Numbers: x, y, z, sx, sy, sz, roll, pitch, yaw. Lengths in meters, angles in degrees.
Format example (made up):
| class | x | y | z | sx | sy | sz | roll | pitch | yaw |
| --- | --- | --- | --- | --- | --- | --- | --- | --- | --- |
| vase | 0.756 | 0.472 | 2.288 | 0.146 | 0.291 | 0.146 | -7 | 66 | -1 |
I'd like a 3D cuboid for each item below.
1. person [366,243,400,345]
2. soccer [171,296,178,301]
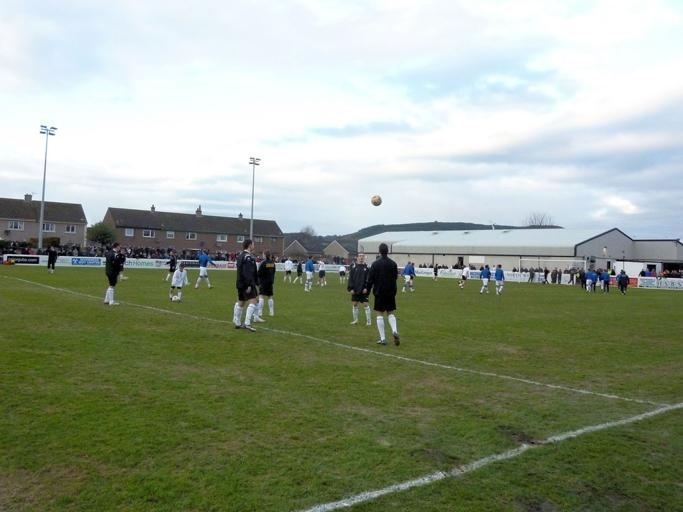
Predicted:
| class | x | y | z | sx | sy | sz | roll | pitch | yaw |
| --- | --- | --- | --- | --- | --- | --- | --- | --- | --- |
| person | 0.963 | 0.847 | 13.809 | 0.741 | 2.456 | 1.284 | 1 | 13 | 3 |
| soccer | -6.029 | 1.544 | 22.458 | 0.170 | 0.088 | 0.233 | 7 | 1 | -6 |
